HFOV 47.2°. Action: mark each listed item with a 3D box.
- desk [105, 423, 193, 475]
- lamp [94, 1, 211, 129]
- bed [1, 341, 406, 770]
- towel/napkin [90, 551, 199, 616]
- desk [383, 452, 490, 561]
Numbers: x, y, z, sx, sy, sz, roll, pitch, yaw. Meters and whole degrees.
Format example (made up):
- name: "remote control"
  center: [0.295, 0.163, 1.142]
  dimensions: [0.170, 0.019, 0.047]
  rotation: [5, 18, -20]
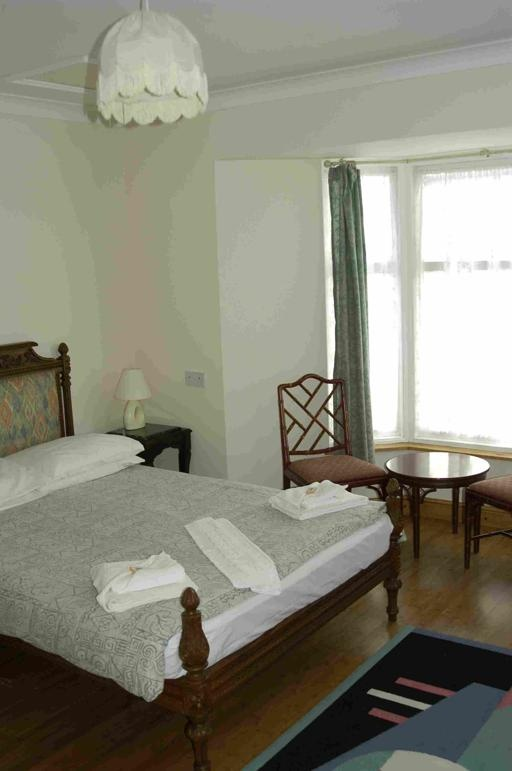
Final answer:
- name: "desk"
  center: [-0.799, 0.421, 4.491]
  dimensions: [0.416, 0.516, 0.437]
  rotation: [7, 13, 32]
- name: "lamp"
  center: [-0.323, -0.992, 1.844]
  dimensions: [0.321, 0.362, 0.486]
  rotation: [-2, 1, -6]
- name: "bed"
  center: [-0.560, 0.695, 2.954]
  dimensions: [2.117, 1.400, 1.618]
  rotation: [11, 19, 38]
- name: "towel/napkin"
  center: [-0.404, 0.697, 2.106]
  dimensions: [0.345, 0.054, 0.361]
  rotation: [-2, 1, -19]
- name: "desk"
  center: [1.165, 0.639, 3.941]
  dimensions: [0.709, 0.613, 0.671]
  rotation: [-11, 21, -18]
